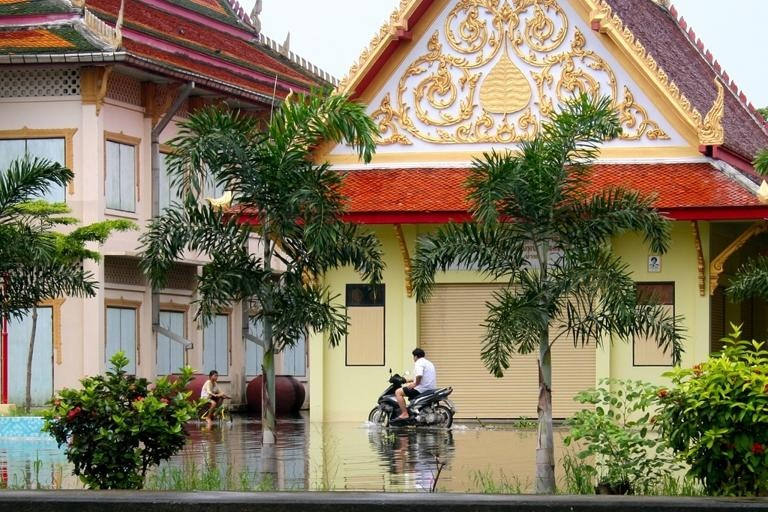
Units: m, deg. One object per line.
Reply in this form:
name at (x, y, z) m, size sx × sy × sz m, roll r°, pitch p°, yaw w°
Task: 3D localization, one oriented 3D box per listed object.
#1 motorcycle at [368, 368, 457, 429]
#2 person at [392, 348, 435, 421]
motorcycle at (0.735, 3.577, 32.731) m, size 2.081 × 1.538 × 1.015 m, roll 0°, pitch -5°, yaw 14°
person at (0.703, 3.063, 31.990) m, size 0.987 × 1.610 × 0.707 m, roll -3°, pitch -12°, yaw 16°
